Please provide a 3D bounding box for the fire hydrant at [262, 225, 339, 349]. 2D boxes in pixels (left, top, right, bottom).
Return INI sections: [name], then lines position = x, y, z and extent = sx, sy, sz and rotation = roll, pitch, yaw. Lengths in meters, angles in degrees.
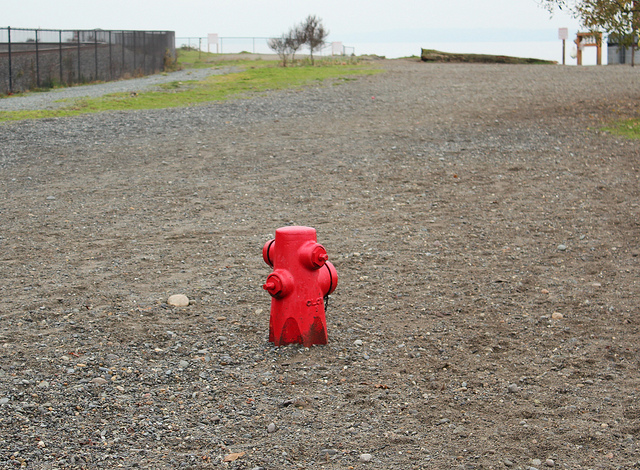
[fire hydrant]
position = -0.248, 0.655, 12.819
extent = 0.876, 1.488, 0.352
rotation = 0, 15, 1
